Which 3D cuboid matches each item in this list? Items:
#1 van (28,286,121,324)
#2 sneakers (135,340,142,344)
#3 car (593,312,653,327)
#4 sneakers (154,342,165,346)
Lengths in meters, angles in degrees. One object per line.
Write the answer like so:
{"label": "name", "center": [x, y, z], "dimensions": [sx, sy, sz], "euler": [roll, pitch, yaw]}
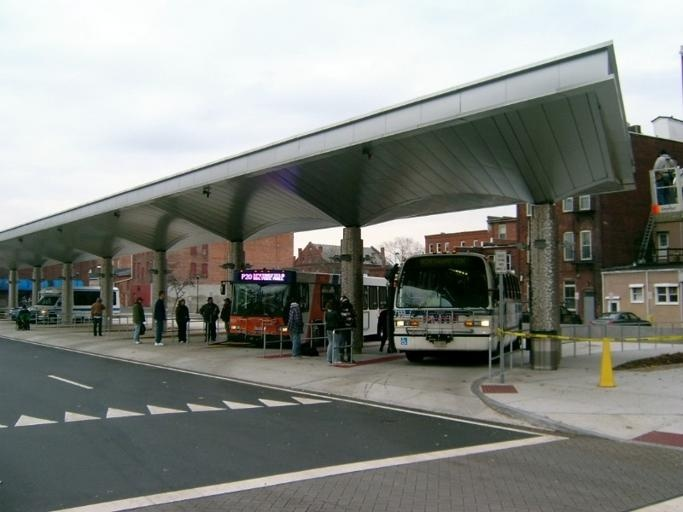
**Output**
{"label": "van", "center": [-18.278, 3.287, 46.147], "dimensions": [5.671, 2.501, 3.377], "euler": [5, -9, -40]}
{"label": "sneakers", "center": [-8.345, 3.494, 27.703], "dimensions": [0.178, 0.243, 0.512], "euler": [0, -9, -15]}
{"label": "car", "center": [15.220, 3.332, 36.592], "dimensions": [2.505, 0.644, 8.253], "euler": [-4, -6, 20]}
{"label": "sneakers", "center": [-7.223, 3.434, 26.563], "dimensions": [0.489, 0.168, 0.178], "euler": [-6, -8, 34]}
